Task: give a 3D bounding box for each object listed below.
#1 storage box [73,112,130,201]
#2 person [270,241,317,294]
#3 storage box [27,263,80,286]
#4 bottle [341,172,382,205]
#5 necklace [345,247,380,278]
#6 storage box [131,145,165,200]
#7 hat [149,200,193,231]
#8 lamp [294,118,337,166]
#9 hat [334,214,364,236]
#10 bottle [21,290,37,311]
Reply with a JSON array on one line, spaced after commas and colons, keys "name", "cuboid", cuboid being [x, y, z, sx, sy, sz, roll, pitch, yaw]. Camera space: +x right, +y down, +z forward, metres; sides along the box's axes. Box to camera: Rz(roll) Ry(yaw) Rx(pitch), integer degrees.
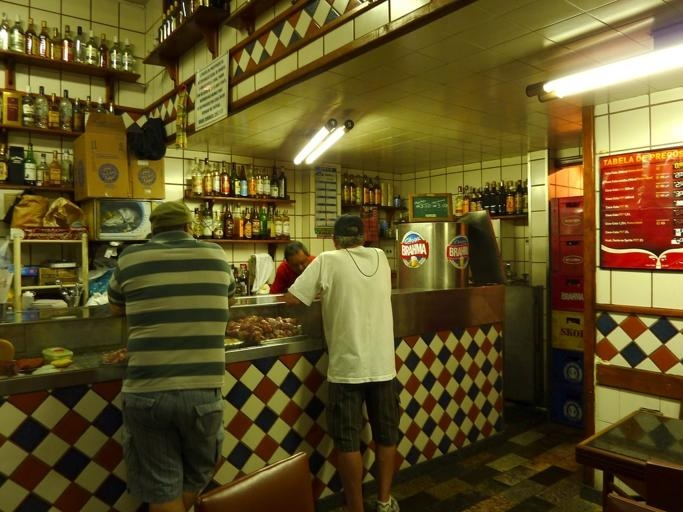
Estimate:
[{"name": "storage box", "cuboid": [-2.550, -0.984, 5.829, 0.423, 0.869, 0.510, -3, 5, -37]}, {"name": "person", "cuboid": [-0.475, 0.132, 5.096, 0.515, 0.706, 0.226, -5, 48, -7]}, {"name": "storage box", "cuboid": [-2.898, 0.198, 5.611, 0.381, 0.219, 0.158, -2, 4, -25]}, {"name": "bottle", "cuboid": [0.261, -0.859, 7.620, 0.510, 0.430, 0.161, 1, -3, -38]}, {"name": "necklace", "cuboid": [0.142, 0.072, 3.793, 0.218, 0.195, 0.056, -8, -23, -38]}, {"name": "storage box", "cuboid": [-2.085, -0.834, 5.872, 0.412, 0.487, 0.520, -3, 4, -33]}, {"name": "hat", "cuboid": [-1.010, -0.226, 3.236, 0.206, 0.116, 0.197, -3, 9, -29]}, {"name": "lamp", "cuboid": [-0.246, -1.053, 5.345, 0.224, 0.336, 0.814, -2, 4, -23]}, {"name": "hat", "cuboid": [0.056, -0.188, 3.855, 0.139, 0.099, 0.191, -2, 5, -4]}, {"name": "bottle", "cuboid": [-2.612, 0.383, 4.559, 0.142, 0.202, 0.118, 3, -6, -23]}]
